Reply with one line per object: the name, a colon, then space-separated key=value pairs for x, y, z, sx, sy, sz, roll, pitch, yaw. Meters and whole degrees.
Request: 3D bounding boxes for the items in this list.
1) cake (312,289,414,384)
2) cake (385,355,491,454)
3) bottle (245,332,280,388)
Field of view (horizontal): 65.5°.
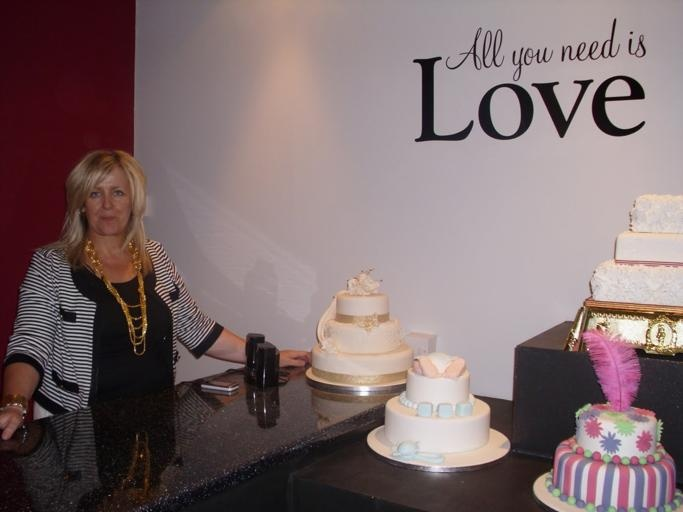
cake: x=0.086 y=0.329 z=2.384 sx=0.388 sy=0.295 sz=0.391 roll=0 pitch=5 yaw=5
cake: x=0.318 y=0.535 z=1.878 sx=0.304 sy=0.199 sz=0.316 roll=0 pitch=-3 yaw=4
bottle: x=-0.355 y=0.470 z=2.402 sx=0.154 sy=0.206 sz=0.178 roll=2 pitch=8 yaw=-10
